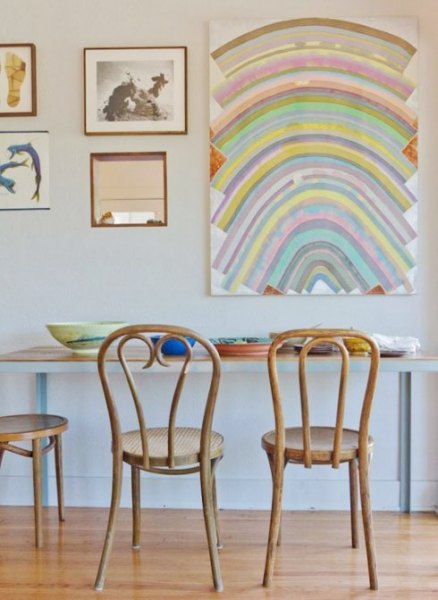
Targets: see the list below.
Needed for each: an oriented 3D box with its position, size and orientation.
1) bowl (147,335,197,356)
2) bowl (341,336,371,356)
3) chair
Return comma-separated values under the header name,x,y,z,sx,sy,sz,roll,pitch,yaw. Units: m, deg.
name,x,y,z,sx,sy,sz,roll,pitch,yaw
bowl,-0.181,0.158,2.679,0.114,0.049,0.113,1,-2,0
bowl,0.529,0.179,2.652,0.090,0.055,0.088,0,1,0
chair,0.099,0.611,2.648,0.933,0.811,0.431,1,1,4
